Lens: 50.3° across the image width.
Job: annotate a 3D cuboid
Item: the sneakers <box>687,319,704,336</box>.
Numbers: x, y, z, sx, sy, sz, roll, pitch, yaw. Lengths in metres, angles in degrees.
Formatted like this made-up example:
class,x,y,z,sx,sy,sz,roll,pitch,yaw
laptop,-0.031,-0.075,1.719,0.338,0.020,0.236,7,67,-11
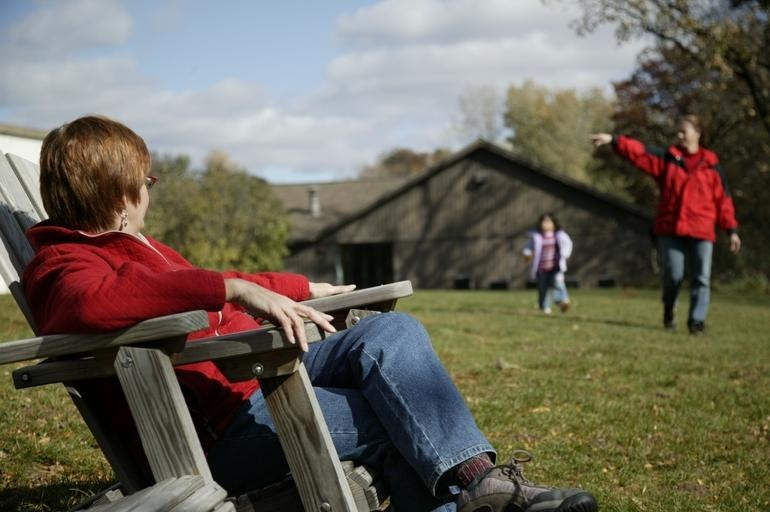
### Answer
class,x,y,z,sx,sy,sz,roll,pitch,yaw
sneakers,2.770,0.634,7.306,0.115,0.114,0.100,-8,-8,44
